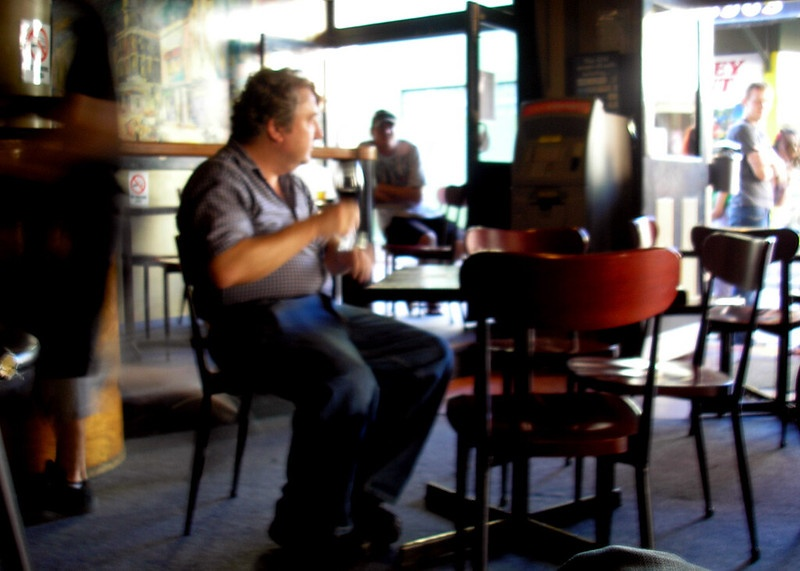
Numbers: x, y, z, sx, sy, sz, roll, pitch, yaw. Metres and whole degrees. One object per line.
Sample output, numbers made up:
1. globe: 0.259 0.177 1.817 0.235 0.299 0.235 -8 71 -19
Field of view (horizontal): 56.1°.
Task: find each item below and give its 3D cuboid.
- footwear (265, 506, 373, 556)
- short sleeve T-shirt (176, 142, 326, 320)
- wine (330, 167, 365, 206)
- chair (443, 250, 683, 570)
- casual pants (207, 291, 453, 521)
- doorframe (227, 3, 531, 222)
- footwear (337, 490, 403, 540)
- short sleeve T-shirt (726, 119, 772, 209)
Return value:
1. footwear: -0.351 0.954 2.884 0.306 0.067 0.217 -5 30 4
2. short sleeve T-shirt: -0.582 -0.278 3.107 0.482 0.650 0.896 0 6 21
3. wine: -0.191 -0.384 2.739 0.104 0.142 0.127 -1 15 -4
4. chair: 0.533 0.377 2.544 0.723 1.059 0.412 -1 15 -4
5. casual pants: -0.267 0.453 3.097 0.663 0.819 0.891 -4 13 -43
6. doorframe: -0.123 -1.508 6.053 2.943 2.083 1.038 1 5 22
7. footwear: -0.092 0.931 3.128 0.060 0.265 0.274 29 -1 21
8. short sleeve T-shirt: 2.977 -1.044 6.380 0.396 0.742 0.352 6 16 22
